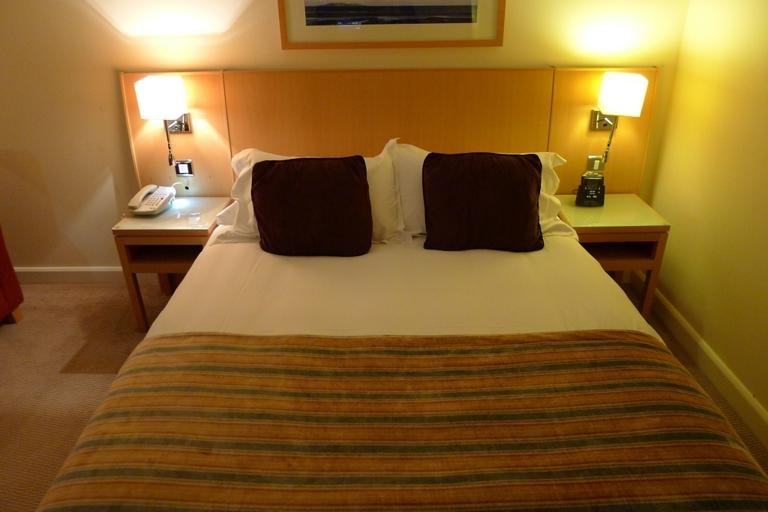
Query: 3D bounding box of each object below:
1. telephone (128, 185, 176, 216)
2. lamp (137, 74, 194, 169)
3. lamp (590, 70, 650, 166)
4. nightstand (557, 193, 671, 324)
[{"bbox_3d":[-1.565,-0.377,3.567,0.204,0.104,0.264,0,37,8],"label":"telephone"},{"bbox_3d":[-1.452,-0.890,3.560,0.298,0.610,0.238,-7,25,-11],"label":"lamp"},{"bbox_3d":[1.539,-0.901,3.510,0.296,0.596,0.297,7,26,19],"label":"lamp"},{"bbox_3d":[1.560,0.024,3.763,0.879,0.799,0.859,9,33,19],"label":"nightstand"}]
